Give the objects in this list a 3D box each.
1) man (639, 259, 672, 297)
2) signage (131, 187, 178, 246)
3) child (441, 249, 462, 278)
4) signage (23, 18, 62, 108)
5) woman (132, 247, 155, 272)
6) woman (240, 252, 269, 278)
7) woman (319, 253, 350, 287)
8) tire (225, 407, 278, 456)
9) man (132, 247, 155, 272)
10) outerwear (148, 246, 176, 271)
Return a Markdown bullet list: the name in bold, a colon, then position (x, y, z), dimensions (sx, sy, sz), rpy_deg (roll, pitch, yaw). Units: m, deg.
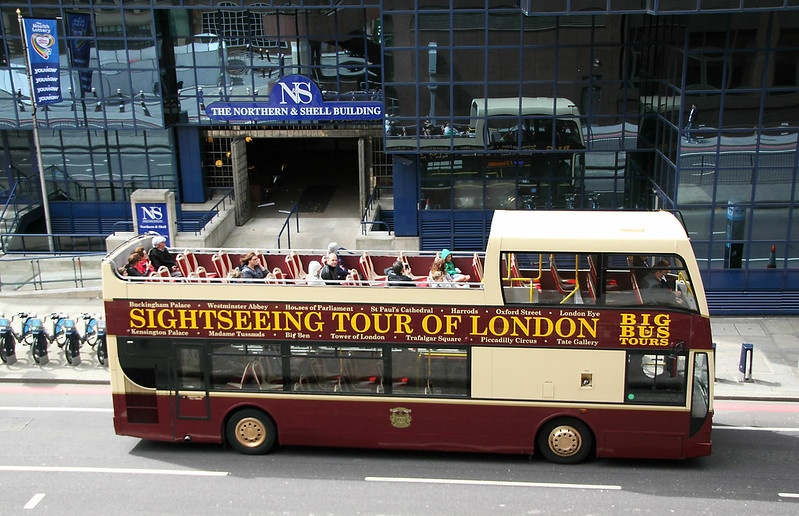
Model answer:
- **man**: position (6.285, 0.453, 22.782), dimensions (0.499, 0.865, 0.462), rpy_deg (-9, 45, -1)
- **signage**: position (-9.213, -1.276, 35.429), dimensions (1.669, 2.532, 1.028), rpy_deg (1, 15, 11)
- **child**: position (1.391, 0.186, 24.988), dimensions (0.562, 0.692, 0.479), rpy_deg (-5, 30, 18)
- **signage**: position (-12.993, -7.247, 33.926), dimensions (0.360, 3.006, 1.323), rpy_deg (4, 15, 30)
- **woman**: position (-6.838, 0.069, 24.777), dimensions (0.302, 0.886, 0.322), rpy_deg (-27, 24, 8)
- **woman**: position (-3.931, 0.201, 25.143), dimensions (0.391, 0.562, 0.626), rpy_deg (-6, 10, 12)
- **woman**: position (-1.745, 0.345, 24.869), dimensions (0.480, 0.802, 0.462), rpy_deg (-20, 40, 2)
- **tire**: position (-3.801, 4.607, 24.515), dimensions (1.452, 1.253, 0.512), rpy_deg (-4, -1, 24)
- **man**: position (-6.838, 0.069, 24.777), dimensions (0.302, 0.886, 0.322), rpy_deg (-27, 24, 8)
- **outerwear**: position (-6.477, 0.040, 25.242), dimensions (0.399, 0.613, 0.717), rpy_deg (-1, 4, 37)
